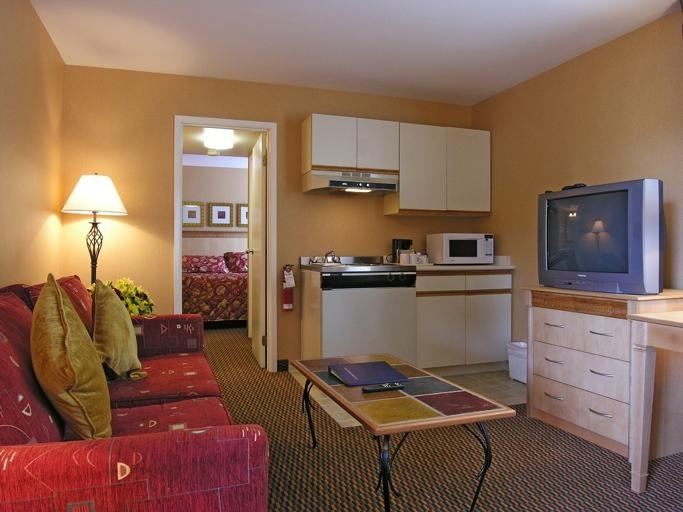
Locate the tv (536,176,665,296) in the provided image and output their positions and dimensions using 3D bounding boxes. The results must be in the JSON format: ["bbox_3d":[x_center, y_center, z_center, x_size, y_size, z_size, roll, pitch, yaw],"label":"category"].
[{"bbox_3d":[1.793,-0.135,3.630,0.416,0.726,0.730,-4,4,-37],"label":"tv"}]

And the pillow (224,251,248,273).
[{"bbox_3d":[-1.633,0.098,8.073,0.397,0.404,0.123,-1,-15,25],"label":"pillow"}]

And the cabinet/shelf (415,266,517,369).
[{"bbox_3d":[1.117,0.568,4.841,0.910,0.886,0.471,0,-2,-16],"label":"cabinet/shelf"}]

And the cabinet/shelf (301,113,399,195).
[{"bbox_3d":[0.065,-0.951,5.014,0.931,0.684,0.520,-1,0,-26],"label":"cabinet/shelf"}]

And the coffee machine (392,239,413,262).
[{"bbox_3d":[0.585,-0.063,5.175,0.249,0.295,0.154,1,-1,-16],"label":"coffee machine"}]

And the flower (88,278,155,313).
[{"bbox_3d":[-1.595,0.309,3.870,0.389,0.355,0.387,2,-4,5],"label":"flower"}]

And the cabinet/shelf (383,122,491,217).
[{"bbox_3d":[0.907,-0.847,5.064,0.886,0.782,0.319,0,-1,-19],"label":"cabinet/shelf"}]

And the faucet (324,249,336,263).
[{"bbox_3d":[-0.120,-0.006,5.090,0.109,0.114,0.114,3,-4,-9],"label":"faucet"}]

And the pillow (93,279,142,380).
[{"bbox_3d":[-1.279,0.430,2.934,0.136,0.466,0.471,-11,7,-3],"label":"pillow"}]

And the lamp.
[{"bbox_3d":[-2.003,-0.231,4.266,0.485,0.918,0.573,-3,5,-27],"label":"lamp"}]

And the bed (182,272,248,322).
[{"bbox_3d":[-1.655,0.534,6.799,0.675,0.382,0.680,1,0,-12],"label":"bed"}]

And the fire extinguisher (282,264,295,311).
[{"bbox_3d":[-0.507,0.306,4.926,0.121,0.439,0.166,-1,5,-4],"label":"fire extinguisher"}]

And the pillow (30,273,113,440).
[{"bbox_3d":[-1.190,0.467,2.291,0.236,0.485,0.599,-4,18,-29],"label":"pillow"}]

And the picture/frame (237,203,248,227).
[{"bbox_3d":[-1.641,-0.670,8.552,0.149,0.374,0.089,-1,5,-6],"label":"picture/frame"}]

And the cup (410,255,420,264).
[{"bbox_3d":[0.715,0.024,5.070,0.060,0.089,0.185,2,5,23],"label":"cup"}]

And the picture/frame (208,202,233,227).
[{"bbox_3d":[-1.988,-0.668,8.428,0.392,0.417,0.029,0,-3,-22],"label":"picture/frame"}]

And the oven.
[{"bbox_3d":[0.218,0.577,4.864,0.913,0.918,0.670,-2,0,-7],"label":"oven"}]

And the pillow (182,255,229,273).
[{"bbox_3d":[-2.067,0.121,7.893,0.660,0.223,0.510,-1,5,-15],"label":"pillow"}]

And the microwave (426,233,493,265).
[{"bbox_3d":[1.161,-0.058,5.114,0.467,0.296,0.330,0,-2,-18],"label":"microwave"}]

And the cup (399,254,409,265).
[{"bbox_3d":[0.607,0.023,5.041,0.106,0.093,0.062,2,5,20],"label":"cup"}]

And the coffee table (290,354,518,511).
[{"bbox_3d":[0.286,0.983,2.807,0.859,0.687,1.048,-2,5,-16],"label":"coffee table"}]
